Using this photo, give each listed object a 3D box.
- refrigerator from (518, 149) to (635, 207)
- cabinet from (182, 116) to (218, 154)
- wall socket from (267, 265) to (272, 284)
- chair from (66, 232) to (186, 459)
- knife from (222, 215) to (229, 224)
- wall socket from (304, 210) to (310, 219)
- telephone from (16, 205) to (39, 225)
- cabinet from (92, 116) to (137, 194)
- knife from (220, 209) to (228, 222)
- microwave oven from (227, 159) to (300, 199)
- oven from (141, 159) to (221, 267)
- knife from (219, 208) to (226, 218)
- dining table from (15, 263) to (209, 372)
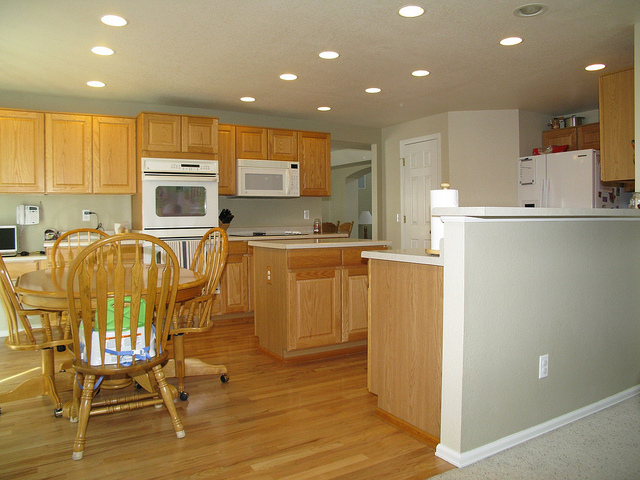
[{"bbox_3d":[3.028,-0.741,5.638,1.165,0.682,0.610,3,9,23],"label":"refrigerator"},{"bbox_3d":[-1.370,-1.252,5.532,0.471,0.429,0.320,5,12,5],"label":"cabinet"},{"bbox_3d":[-0.445,0.308,4.161,0.021,0.197,0.171,0,-1,-25],"label":"wall socket"},{"bbox_3d":[-1.235,0.583,2.901,0.819,1.209,0.870,0,3,-1],"label":"chair"},{"bbox_3d":[-1.184,-0.267,5.958,0.021,0.081,0.088,28,-6,11],"label":"knife"},{"bbox_3d":[-0.184,-0.378,6.804,0.084,0.129,0.024,-3,9,-18],"label":"wall socket"},{"bbox_3d":[-3.258,-0.285,5.203,0.231,0.257,0.133,1,0,-42],"label":"telephone"},{"bbox_3d":[-2.315,-0.971,5.474,0.651,0.898,0.641,-2,7,-30],"label":"cabinet"},{"bbox_3d":[-1.213,-0.319,5.970,0.041,0.176,0.028,37,6,19],"label":"knife"},{"bbox_3d":[-0.661,-0.801,6.029,0.845,0.481,0.512,-2,2,-38],"label":"microwave oven"},{"bbox_3d":[-1.469,-0.152,5.629,1.104,1.662,0.972,0,-1,-6],"label":"oven"},{"bbox_3d":[-1.249,-0.360,6.111,0.031,0.098,0.099,26,19,-10],"label":"knife"},{"bbox_3d":[-1.456,0.264,3.115,1.015,0.603,0.965,0,8,-23],"label":"dining table"}]
